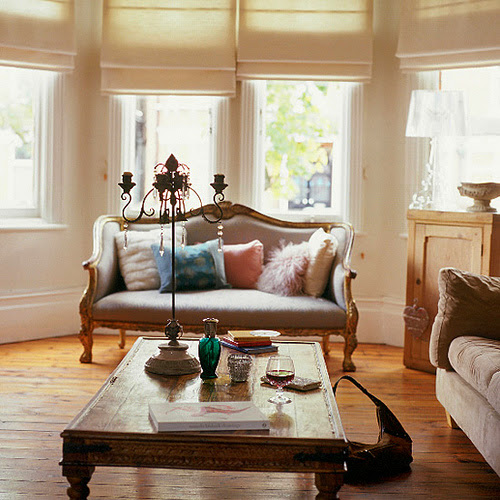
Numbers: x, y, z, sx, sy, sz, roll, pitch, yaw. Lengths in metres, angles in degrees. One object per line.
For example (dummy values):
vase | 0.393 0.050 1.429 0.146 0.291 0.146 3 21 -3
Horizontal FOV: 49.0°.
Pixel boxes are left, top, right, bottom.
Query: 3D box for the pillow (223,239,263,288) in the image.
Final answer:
pillow | -0.053 0.122 3.929 0.382 0.338 0.149 -8 -18 44

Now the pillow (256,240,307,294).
pillow | 0.271 0.100 3.790 0.411 0.153 0.444 9 40 9

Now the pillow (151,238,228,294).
pillow | -0.402 0.119 3.621 0.373 0.244 0.123 -5 -11 -16

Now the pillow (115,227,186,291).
pillow | -0.766 0.033 3.822 0.504 0.462 0.202 -1 -25 -15

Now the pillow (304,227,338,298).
pillow | 0.505 0.048 3.987 0.264 0.452 0.661 -3 22 3

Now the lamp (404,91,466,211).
lamp | 1.343 -0.709 3.917 0.438 0.873 0.605 4 12 19
